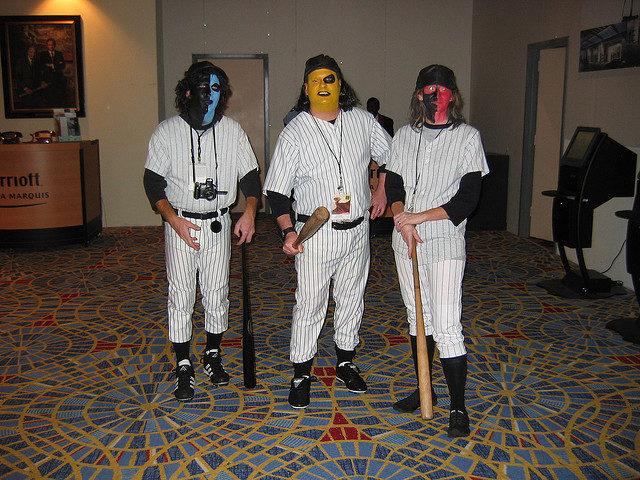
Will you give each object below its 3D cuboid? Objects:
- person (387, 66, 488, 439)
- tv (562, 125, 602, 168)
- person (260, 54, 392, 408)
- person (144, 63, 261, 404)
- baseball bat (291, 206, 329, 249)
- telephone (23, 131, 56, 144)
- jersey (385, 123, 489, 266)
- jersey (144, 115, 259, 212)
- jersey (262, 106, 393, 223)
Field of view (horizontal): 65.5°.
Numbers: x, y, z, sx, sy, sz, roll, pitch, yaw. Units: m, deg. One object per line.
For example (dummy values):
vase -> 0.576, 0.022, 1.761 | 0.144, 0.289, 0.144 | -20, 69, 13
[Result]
person -> 0.606, 0.076, 2.733 | 0.536, 1.988, 0.437 | 4, 16, 16
tv -> 2.513, -0.906, 4.798 | 0.265, 0.361, 0.452 | 1, 15, 7
person -> 0.088, -0.021, 2.989 | 0.739, 2.088, 0.487 | -9, 17, -28
person -> -0.714, -0.047, 3.130 | 0.686, 2.062, 0.561 | -5, 16, -19
baseball bat -> -0.056, -0.066, 2.654 | 0.082, 0.382, 0.057 | 39, 52, 1
telephone -> -3.861, -1.400, 6.808 | 0.467, 0.159, 0.325 | 0, 13, 2
jersey -> 0.620, -0.247, 2.711 | 0.542, 0.762, 0.332 | 4, 15, 16
jersey -> -0.720, -0.507, 3.123 | 0.720, 0.591, 0.310 | 3, 18, -2
jersey -> 0.059, -0.444, 2.889 | 0.771, 0.633, 0.342 | -2, 15, -6
